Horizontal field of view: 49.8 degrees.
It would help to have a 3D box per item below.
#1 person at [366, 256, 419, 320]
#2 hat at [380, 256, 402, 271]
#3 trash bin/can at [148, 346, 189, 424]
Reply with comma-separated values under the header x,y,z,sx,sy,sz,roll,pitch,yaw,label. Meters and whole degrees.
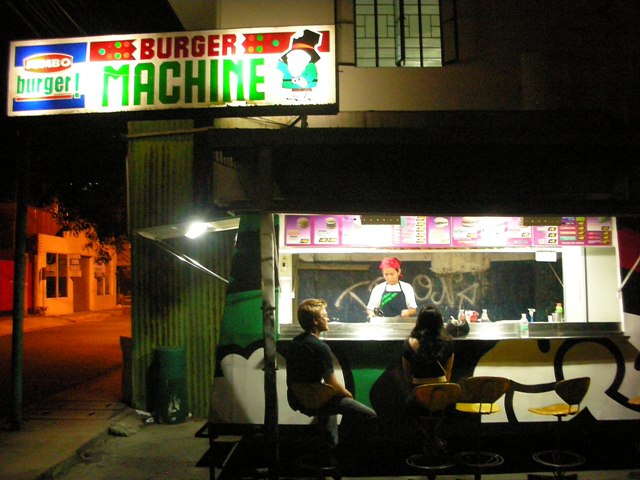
x,y,z,sx,sy,sz,roll,pitch,yaw,label
1.336,1.072,12.824,0.853,1.479,0.710,-2,-13,9,person
1.295,0.433,12.715,0.256,0.292,0.258,-8,4,-9,hat
-2.615,2.519,12.019,0.570,1.282,0.339,0,-3,-3,trash bin/can
